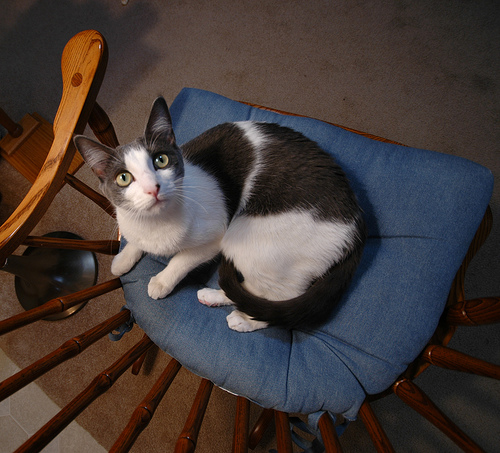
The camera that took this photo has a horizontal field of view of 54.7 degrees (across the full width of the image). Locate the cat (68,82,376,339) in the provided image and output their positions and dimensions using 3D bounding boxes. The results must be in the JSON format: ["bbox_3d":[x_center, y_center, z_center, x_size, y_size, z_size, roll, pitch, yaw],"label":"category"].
[{"bbox_3d":[-0.026,-0.150,1.496,0.760,0.612,0.696,11,47,11],"label":"cat"}]

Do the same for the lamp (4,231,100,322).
[{"bbox_3d":[-0.806,0.200,2.075,0.386,0.403,0.414,5,82,-2],"label":"lamp"}]
